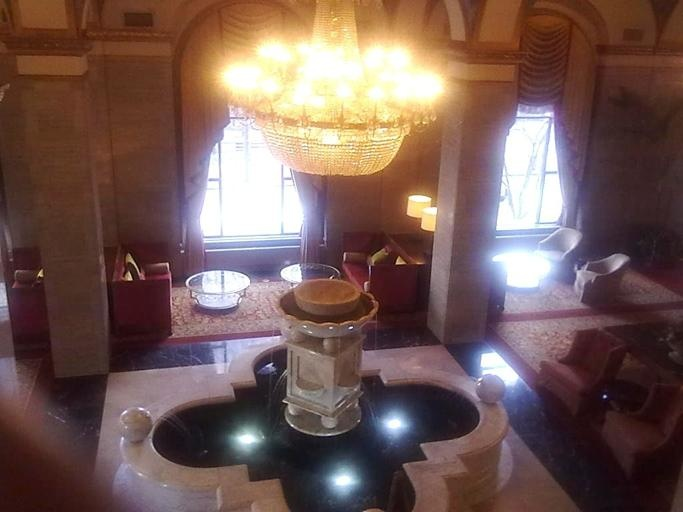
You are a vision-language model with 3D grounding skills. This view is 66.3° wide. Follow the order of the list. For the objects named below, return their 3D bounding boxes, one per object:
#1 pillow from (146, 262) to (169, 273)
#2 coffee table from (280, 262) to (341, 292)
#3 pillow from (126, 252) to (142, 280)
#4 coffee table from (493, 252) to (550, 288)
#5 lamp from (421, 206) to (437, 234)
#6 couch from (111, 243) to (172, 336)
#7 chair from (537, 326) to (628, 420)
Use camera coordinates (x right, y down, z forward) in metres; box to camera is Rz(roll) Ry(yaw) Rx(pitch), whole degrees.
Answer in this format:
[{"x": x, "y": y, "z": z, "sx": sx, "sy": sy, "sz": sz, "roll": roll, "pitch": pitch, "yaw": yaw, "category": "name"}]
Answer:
[{"x": -3.348, "y": 0.223, "z": 9.581, "sx": 0.269, "sy": 0.135, "sz": 0.201, "roll": -1, "pitch": 19, "yaw": -6, "category": "pillow"}, {"x": -0.638, "y": 0.381, "z": 10.036, "sx": 1.063, "sy": 0.261, "sz": 0.923, "roll": -6, "pitch": 18, "yaw": -20, "category": "coffee table"}, {"x": -3.577, "y": 0.166, "z": 8.980, "sx": 0.170, "sy": 0.202, "sz": 0.507, "roll": -16, "pitch": 44, "yaw": -22, "category": "pillow"}, {"x": 3.908, "y": 0.491, "z": 11.481, "sx": 1.012, "sy": 0.227, "sz": 1.059, "roll": 6, "pitch": 21, "yaw": 24, "category": "coffee table"}, {"x": 1.589, "y": -0.675, "z": 9.514, "sx": 0.401, "sy": 0.449, "sz": 0.442, "roll": 1, "pitch": 15, "yaw": 0, "category": "lamp"}, {"x": -3.260, "y": 0.573, "z": 8.431, "sx": 0.470, "sy": 0.582, "sz": 1.387, "roll": -4, "pitch": 30, "yaw": -18, "category": "couch"}, {"x": 3.264, "y": 1.494, "z": 7.061, "sx": 0.761, "sy": 0.944, "sz": 0.792, "roll": -6, "pitch": 18, "yaw": -17, "category": "chair"}]
